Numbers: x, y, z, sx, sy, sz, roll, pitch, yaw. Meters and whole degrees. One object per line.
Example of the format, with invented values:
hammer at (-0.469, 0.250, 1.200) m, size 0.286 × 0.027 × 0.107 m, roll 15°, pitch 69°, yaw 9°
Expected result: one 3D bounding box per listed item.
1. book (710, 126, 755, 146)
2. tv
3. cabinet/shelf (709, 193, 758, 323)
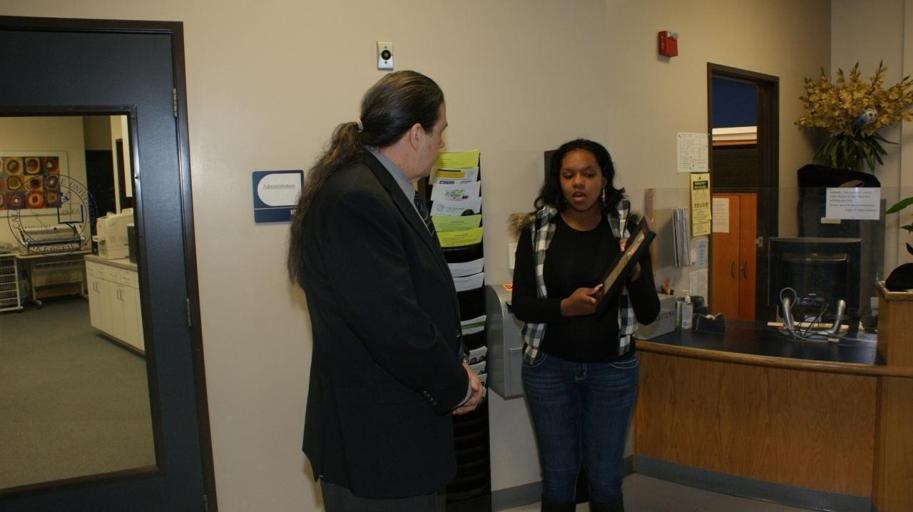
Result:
book at (2.703, -1.167, 6.161) m, size 0.424 × 0.096 × 0.388 m, roll 3°, pitch 18°, yaw 14°
tv at (2.653, 0.190, 4.715) m, size 0.605 × 0.706 × 0.439 m, roll 3°, pitch 28°, yaw 28°
cabinet/shelf at (2.480, 0.069, 5.522) m, size 0.153 × 1.360 × 0.287 m, roll -19°, pitch 15°, yaw -34°
